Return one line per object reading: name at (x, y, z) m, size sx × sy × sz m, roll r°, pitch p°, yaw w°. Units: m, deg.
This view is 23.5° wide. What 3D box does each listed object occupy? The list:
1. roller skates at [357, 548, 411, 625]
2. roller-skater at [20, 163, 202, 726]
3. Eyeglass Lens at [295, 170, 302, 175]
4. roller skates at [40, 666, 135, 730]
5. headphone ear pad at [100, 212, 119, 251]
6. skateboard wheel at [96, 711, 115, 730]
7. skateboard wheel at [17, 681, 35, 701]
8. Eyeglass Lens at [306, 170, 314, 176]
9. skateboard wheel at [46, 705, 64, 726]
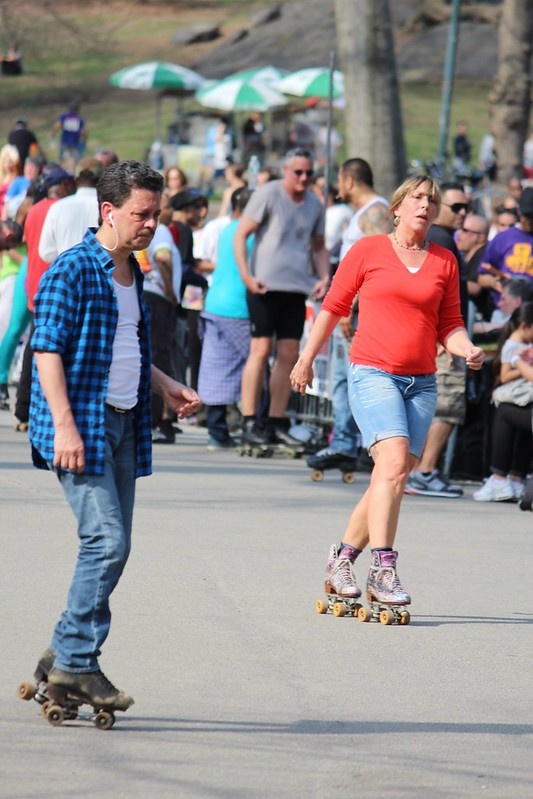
roller skates at (0.483, 0.768, 5.271) m, size 0.190 × 0.245 × 0.412 m, roll 2°, pitch 4°, yaw -11°
roller-skater at (-0.507, 0.144, 3.999) m, size 0.541 × 1.689 × 0.616 m, roll 2°, pitch -1°, yaw 8°
Eyeglass Lens at (0.232, -1.629, 9.150) m, size 0.041 × 0.038 × 0.013 m, roll -3°, pitch -10°, yaw 0°
roller skates at (-0.586, 0.878, 3.768) m, size 0.359 × 0.228 × 0.120 m, roll 4°, pitch -1°, yaw 2°
headphone ear pad at (-0.467, -0.525, 3.942) m, size 0.028 × 0.104 × 0.080 m, roll -1°, pitch -2°, yaw -35°
skateboard wheel at (-0.476, 0.943, 3.782) m, size 0.062 × 0.061 × 0.058 m, roll -1°, pitch 8°, yaw 0°
skateboard wheel at (-0.717, 0.886, 3.889) m, size 0.058 × 0.049 × 0.062 m, roll -22°, pitch -12°, yaw -5°
Eyeglass Lens at (0.313, -1.644, 9.194) m, size 0.043 × 0.040 × 0.039 m, roll 14°, pitch -34°, yaw -7°
skateboard wheel at (-0.614, 0.927, 3.749) m, size 0.056 × 0.052 × 0.064 m, roll 3°, pitch -1°, yaw -7°
